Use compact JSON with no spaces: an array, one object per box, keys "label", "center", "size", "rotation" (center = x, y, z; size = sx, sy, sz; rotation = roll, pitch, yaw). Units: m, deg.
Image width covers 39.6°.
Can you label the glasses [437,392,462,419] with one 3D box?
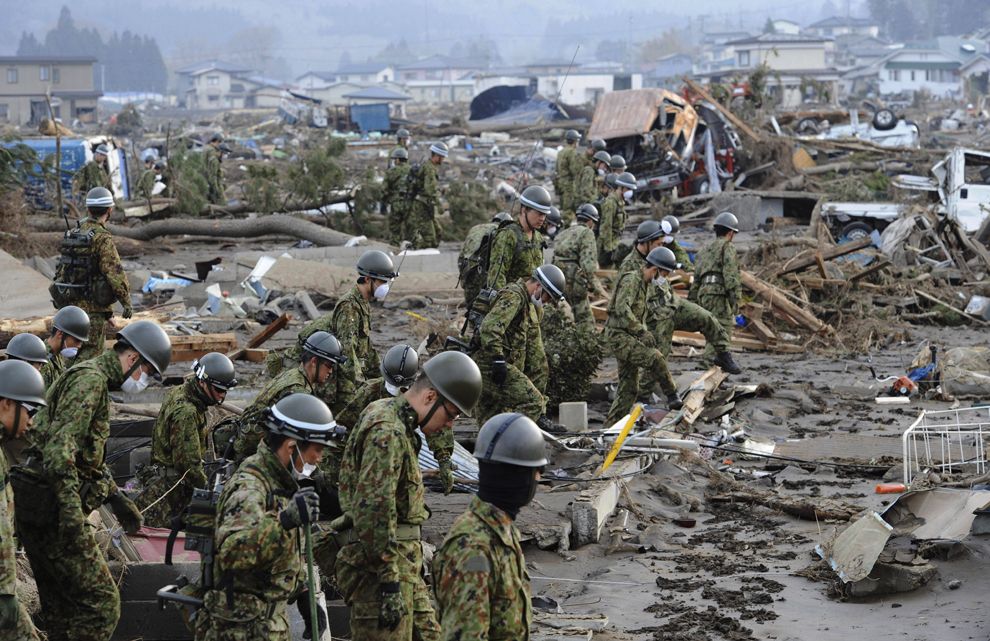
[{"label":"glasses","center":[-0.465,0.899,14.117],"size":[0.199,0.279,0.143],"rotation":[-14,-4,-12]}]

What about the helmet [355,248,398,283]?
[{"label":"helmet","center":[-1.432,-0.653,16.715],"size":[0.426,0.276,0.344],"rotation":[-2,31,0]}]

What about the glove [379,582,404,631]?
[{"label":"glove","center":[-1.063,2.967,14.114],"size":[0.304,0.420,0.149],"rotation":[5,-34,-12]}]

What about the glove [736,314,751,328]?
[{"label":"glove","center":[4.231,0.016,23.494],"size":[0.179,0.229,0.242],"rotation":[9,5,2]}]

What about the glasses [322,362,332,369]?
[{"label":"glasses","center":[-1.900,0.525,15.695],"size":[0.068,0.073,0.022],"rotation":[1,-7,-16]}]

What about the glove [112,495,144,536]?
[{"label":"glove","center":[-4.075,2.145,15.309],"size":[0.269,0.453,0.187],"rotation":[-30,12,0]}]

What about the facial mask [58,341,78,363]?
[{"label":"facial mask","center":[-5.154,0.369,16.548],"size":[0.160,0.225,0.200],"rotation":[-20,-1,14]}]

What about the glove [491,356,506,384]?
[{"label":"glove","center":[0.064,0.645,17.493],"size":[0.204,0.347,0.138],"rotation":[0,9,-13]}]

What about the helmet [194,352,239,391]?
[{"label":"helmet","center":[-3.101,0.554,15.401],"size":[0.347,0.397,0.464],"rotation":[-15,53,-47]}]

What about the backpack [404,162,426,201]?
[{"label":"backpack","center":[-1.589,-2.714,26.978],"size":[0.406,0.775,0.624],"rotation":[0,9,-11]}]

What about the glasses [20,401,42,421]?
[{"label":"glasses","center":[-4.859,0.946,14.336],"size":[0.177,0.185,0.146],"rotation":[14,-3,36]}]

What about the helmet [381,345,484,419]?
[{"label":"helmet","center":[-0.484,0.604,14.243],"size":[0.541,0.462,0.658],"rotation":[40,0,-19]}]

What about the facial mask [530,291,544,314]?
[{"label":"facial mask","center":[0.523,-0.224,17.757],"size":[0.123,0.219,0.172],"rotation":[-12,0,12]}]

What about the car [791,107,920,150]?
[{"label":"car","center":[11.339,-5.954,42.858],"size":[3.150,1.509,2.089],"rotation":[8,7,22]}]

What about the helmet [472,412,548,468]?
[{"label":"helmet","center":[0.177,1.222,13.340],"size":[0.516,0.495,0.590],"rotation":[13,-7,26]}]

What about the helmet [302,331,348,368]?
[{"label":"helmet","center":[-1.935,0.298,15.700],"size":[0.442,0.265,0.327],"rotation":[14,14,-6]}]

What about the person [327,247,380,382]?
[{"label":"person","center":[-1.909,-0.034,18.587],"size":[0.663,2.071,0.990],"rotation":[5,47,-7]}]

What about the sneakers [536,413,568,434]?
[{"label":"sneakers","center":[0.775,1.465,19.383],"size":[0.571,0.258,0.196],"rotation":[9,13,-21]}]
